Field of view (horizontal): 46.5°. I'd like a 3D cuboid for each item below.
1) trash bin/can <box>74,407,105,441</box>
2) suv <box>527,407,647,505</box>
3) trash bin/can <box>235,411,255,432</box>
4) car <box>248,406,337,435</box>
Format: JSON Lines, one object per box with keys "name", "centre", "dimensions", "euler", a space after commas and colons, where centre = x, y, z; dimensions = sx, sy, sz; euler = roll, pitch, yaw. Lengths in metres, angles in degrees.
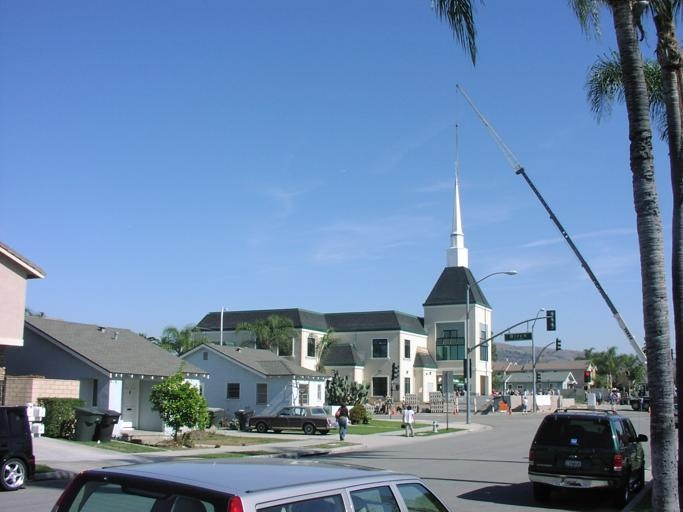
{"name": "trash bin/can", "centre": [-10.004, 6.590, 31.342], "dimensions": [1.124, 1.453, 1.168], "euler": [-9, -14, 28]}
{"name": "suv", "centre": [6.614, 5.017, 20.644], "dimensions": [1.853, 1.530, 3.282], "euler": [-4, -6, 28]}
{"name": "trash bin/can", "centre": [-5.367, 9.113, 44.334], "dimensions": [1.055, 1.074, 1.060], "euler": [4, -8, -32]}
{"name": "car", "centre": [-2.520, 8.838, 42.954], "dimensions": [4.715, 1.536, 1.133], "euler": [-7, -15, 24]}
